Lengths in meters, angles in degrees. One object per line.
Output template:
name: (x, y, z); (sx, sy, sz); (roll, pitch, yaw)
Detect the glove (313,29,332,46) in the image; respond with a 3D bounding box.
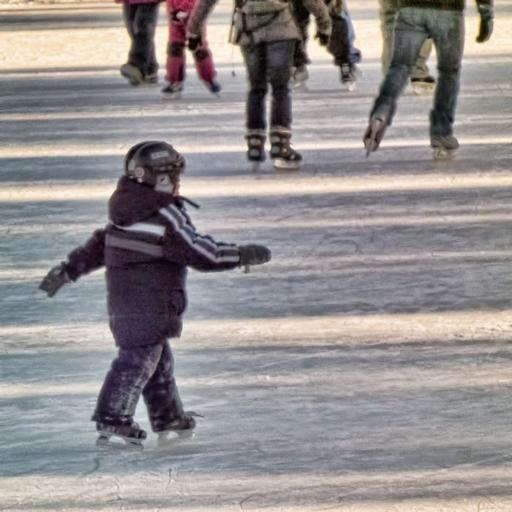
glove: (0.502, -1.657, 12.384); (0.108, 0.169, 0.276); (-2, 19, 2)

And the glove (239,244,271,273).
glove: (-0.001, 0.009, 8.429); (0.208, 0.089, 0.119); (3, -24, -26)

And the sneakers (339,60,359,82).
sneakers: (0.744, -1.497, 13.214); (0.229, 0.142, 0.282); (0, 21, 0)

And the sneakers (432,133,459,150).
sneakers: (1.416, -0.871, 12.367); (0.171, 0.143, 0.119); (-1, 2, -7)

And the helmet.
helmet: (-0.508, -0.472, 8.461); (0.306, 0.237, 0.267); (-13, 20, -24)

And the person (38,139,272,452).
person: (-0.527, 0.169, 8.370); (1.053, 1.446, 0.615); (-5, 21, -7)

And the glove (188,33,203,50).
glove: (-0.451, -1.655, 12.567); (0.094, 0.090, 0.093); (13, -1, -1)

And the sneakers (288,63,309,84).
sneakers: (0.355, -1.442, 13.183); (0.179, 0.205, 0.179); (-1, 56, 3)
